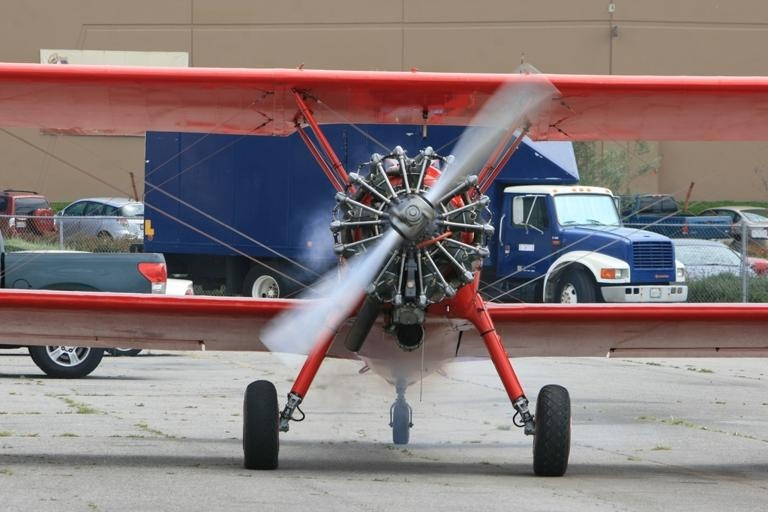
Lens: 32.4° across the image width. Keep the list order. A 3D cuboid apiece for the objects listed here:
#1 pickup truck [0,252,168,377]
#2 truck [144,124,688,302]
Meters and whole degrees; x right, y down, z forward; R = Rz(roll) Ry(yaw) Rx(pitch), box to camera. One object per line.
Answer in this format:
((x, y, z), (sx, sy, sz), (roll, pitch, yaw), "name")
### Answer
((-3.647, 0.593, 16.086), (2.316, 0.867, 1.241), (0, 1, -6), "pickup truck")
((0.819, -0.678, 21.076), (10.755, 3.301, 2.908), (0, 3, 6), "truck")
